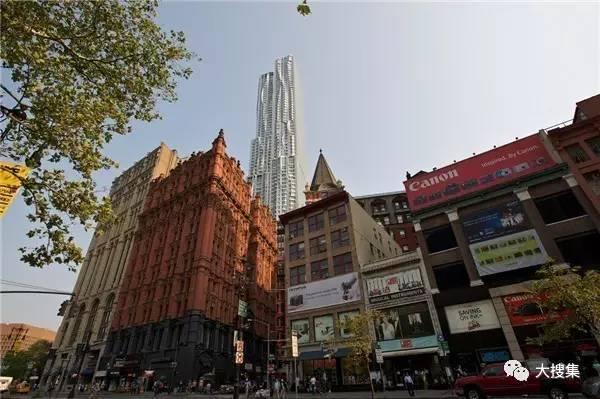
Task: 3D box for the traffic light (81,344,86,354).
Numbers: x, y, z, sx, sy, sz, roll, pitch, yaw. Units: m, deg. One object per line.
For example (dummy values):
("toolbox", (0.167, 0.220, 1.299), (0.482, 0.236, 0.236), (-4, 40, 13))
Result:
("traffic light", (-24.764, 17.074, 36.900), (0.561, 1.073, 0.981), (16, -39, -26))
